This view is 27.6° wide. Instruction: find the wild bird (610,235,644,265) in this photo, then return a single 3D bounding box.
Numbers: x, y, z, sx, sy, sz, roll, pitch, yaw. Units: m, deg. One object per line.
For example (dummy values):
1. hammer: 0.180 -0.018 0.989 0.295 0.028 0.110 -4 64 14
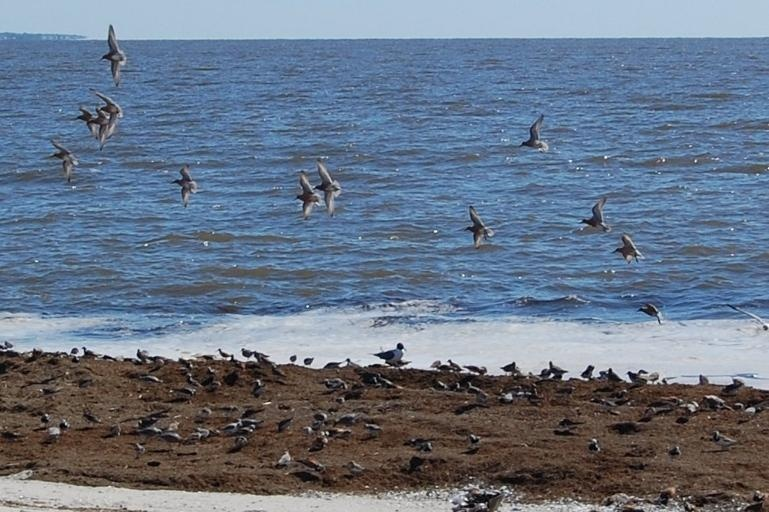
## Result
1. wild bird: 10.266 -0.268 66.575 1.234 0.476 1.429 9 -16 15
